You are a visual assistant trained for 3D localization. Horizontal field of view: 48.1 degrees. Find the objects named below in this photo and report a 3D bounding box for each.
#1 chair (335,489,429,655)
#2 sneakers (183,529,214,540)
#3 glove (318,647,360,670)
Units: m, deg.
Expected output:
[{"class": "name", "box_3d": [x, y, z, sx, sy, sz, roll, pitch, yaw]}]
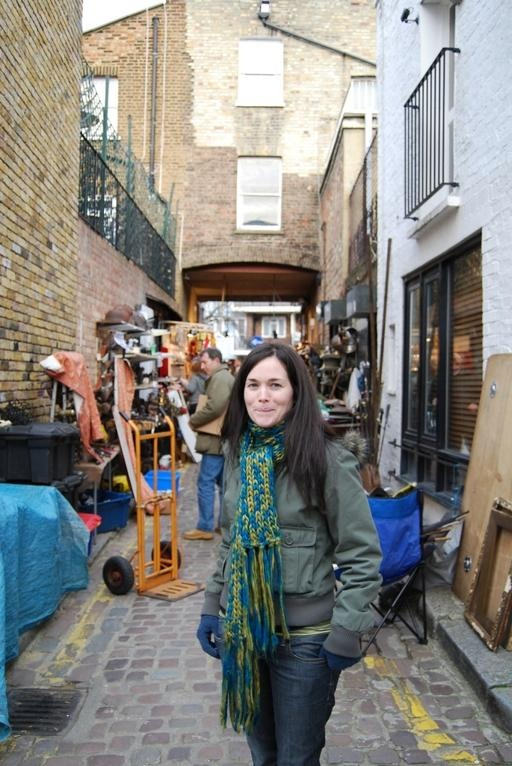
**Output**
[{"class": "chair", "box_3d": [0.811, 1.160, 3.470, 0.419, 0.877, 0.499, -6, -25, 16]}, {"class": "sneakers", "box_3d": [-0.581, 1.541, 5.740, 0.277, 0.163, 0.121, 6, -15, -1]}, {"class": "glove", "box_3d": [0.183, 0.605, 1.247, 0.080, 0.056, 0.049, 0, -1, 7]}]
